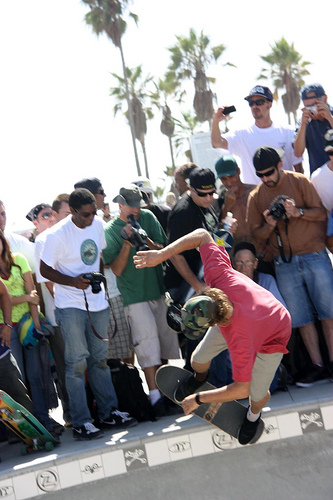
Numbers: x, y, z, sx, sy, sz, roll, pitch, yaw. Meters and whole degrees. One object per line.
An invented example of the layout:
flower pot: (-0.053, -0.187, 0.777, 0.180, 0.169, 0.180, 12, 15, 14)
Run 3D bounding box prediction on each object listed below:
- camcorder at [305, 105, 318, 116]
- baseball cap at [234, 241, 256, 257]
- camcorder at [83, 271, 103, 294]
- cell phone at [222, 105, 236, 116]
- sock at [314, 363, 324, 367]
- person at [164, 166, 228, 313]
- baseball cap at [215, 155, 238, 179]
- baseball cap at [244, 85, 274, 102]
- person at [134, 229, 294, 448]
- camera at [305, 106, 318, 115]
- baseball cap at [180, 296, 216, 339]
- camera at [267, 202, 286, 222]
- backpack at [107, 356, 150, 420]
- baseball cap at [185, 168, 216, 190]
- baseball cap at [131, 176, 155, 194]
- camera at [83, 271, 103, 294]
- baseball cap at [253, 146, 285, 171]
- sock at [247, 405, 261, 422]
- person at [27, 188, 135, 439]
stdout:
camcorder: (1.436, -1.388, 4.047, 0.111, 0.101, 0.029, -2, -12, 30)
baseball cap: (0.711, -0.002, 3.765, 0.197, 0.129, 0.190, -11, 1, 9)
camcorder: (-0.560, 0.259, 3.281, 0.182, 0.185, 0.151, 0, 1, -11)
cell phone: (0.638, -1.422, 4.191, 0.086, 0.089, 0.171, -12, 1, -15)
sock: (1.340, 1.016, 3.632, 0.057, 0.030, 0.016, -11, 2, 8)
person: (0.298, 0.123, 3.828, 0.644, 1.673, 0.511, -3, 16, -19)
baseball cap: (0.576, -0.814, 3.978, 0.216, 0.213, 0.164, -12, 1, 1)
baseball cap: (0.995, -1.636, 4.276, 0.301, 0.149, 0.214, -11, 1, -12)
person: (0.372, 0.662, 2.909, 0.887, 1.423, 1.164, -12, 1, -14)
camera: (1.431, -1.369, 4.038, 0.108, 0.097, 0.026, -2, -21, 10)
baseball cap: (0.175, 0.412, 2.419, 0.179, 0.247, 0.301, -12, 1, -16)
camera: (0.957, -0.330, 3.616, 0.156, 0.150, 0.141, 30, -9, -22)
backpack: (-0.349, 1.325, 3.808, 0.349, 0.598, 0.422, -12, -14, -12)
baseball cap: (0.302, -0.626, 3.627, 0.230, 0.194, 0.258, -11, 1, 4)
baseball cap: (-0.296, -0.765, 4.890, 0.196, 0.217, 0.470, -12, 1, 1)
camera: (-0.550, 0.246, 3.250, 0.153, 0.202, 0.199, 2, -3, 3)
baseball cap: (0.906, -0.833, 3.636, 0.172, 0.136, 0.256, 5, 40, 47)
sock: (0.604, 1.157, 2.919, 0.099, 0.105, 0.107, 5, 7, 0)
person: (-0.701, 0.570, 3.597, 0.673, 2.160, 0.918, -13, 2, -18)
